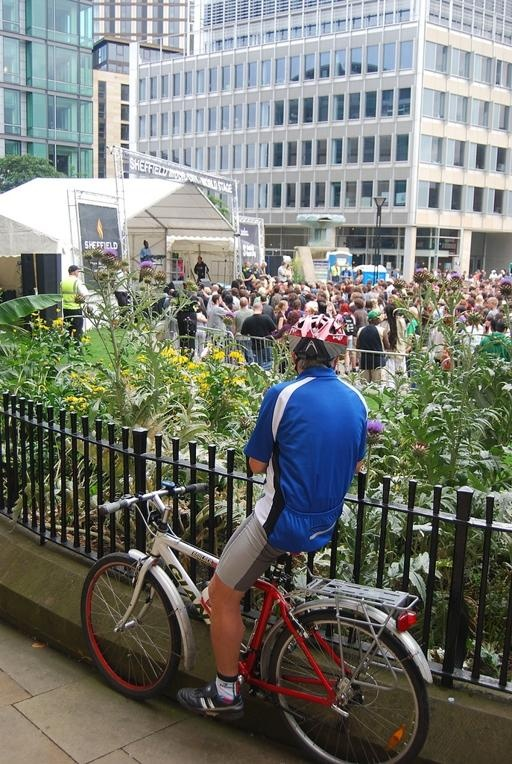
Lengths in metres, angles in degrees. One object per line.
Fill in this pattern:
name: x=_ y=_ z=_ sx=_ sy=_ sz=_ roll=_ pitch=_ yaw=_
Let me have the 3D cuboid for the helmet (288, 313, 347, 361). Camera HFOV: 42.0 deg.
helmet: x=0.212 y=-0.148 z=2.230 sx=0.139 sy=0.148 sz=0.178 roll=7 pitch=17 yaw=1

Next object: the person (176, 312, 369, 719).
person: x=0.061 y=0.493 z=2.262 sx=0.568 sy=1.445 sz=0.261 roll=4 pitch=5 yaw=10
